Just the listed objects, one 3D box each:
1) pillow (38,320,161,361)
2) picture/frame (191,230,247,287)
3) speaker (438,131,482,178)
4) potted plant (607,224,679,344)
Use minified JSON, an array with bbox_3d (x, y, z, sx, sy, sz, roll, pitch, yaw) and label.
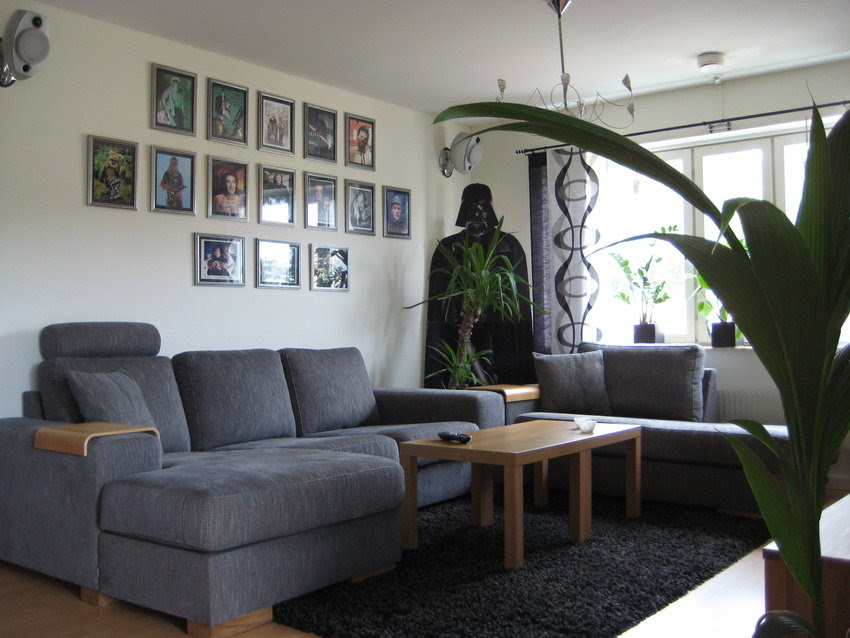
[{"bbox_3d":[-1.793,0.119,3.716,0.145,0.195,0.608,0,0,42],"label":"pillow"},{"bbox_3d":[-1.437,-0.412,4.584,0.027,0.340,0.375,-7,-8,41],"label":"picture/frame"},{"bbox_3d":[0.302,-1.342,5.399,0.303,0.298,0.532,0,0,-9],"label":"speaker"},{"bbox_3d":[1.822,-0.220,5.656,0.478,0.835,0.427,0,0,20],"label":"potted plant"}]
